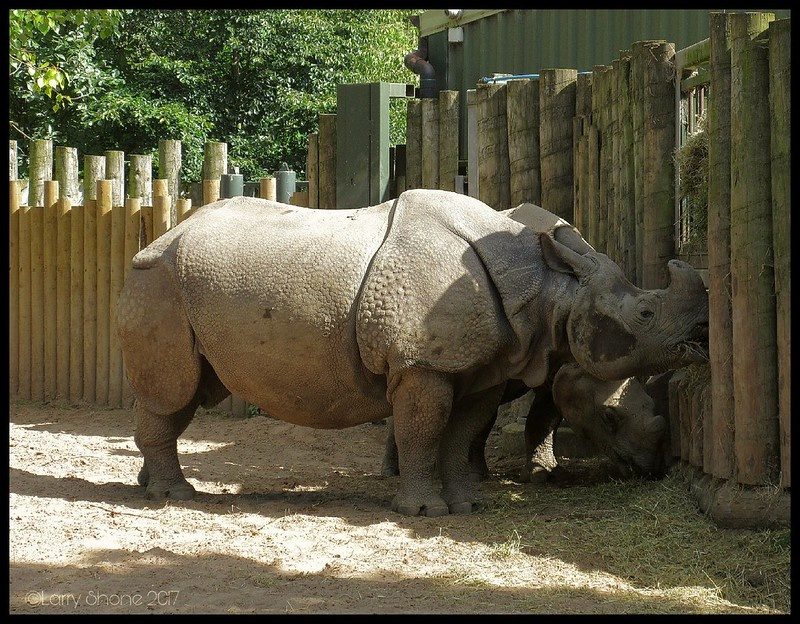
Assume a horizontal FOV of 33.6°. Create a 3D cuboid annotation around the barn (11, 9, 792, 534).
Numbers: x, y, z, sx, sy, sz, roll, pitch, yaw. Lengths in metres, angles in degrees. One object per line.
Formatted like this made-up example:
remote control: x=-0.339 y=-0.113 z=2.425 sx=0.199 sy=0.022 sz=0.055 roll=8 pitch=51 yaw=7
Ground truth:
barn: x=0.725 y=-0.424 z=10.909 sx=5.951 sy=2.926 sz=3.361 roll=0 pitch=1 yaw=44
